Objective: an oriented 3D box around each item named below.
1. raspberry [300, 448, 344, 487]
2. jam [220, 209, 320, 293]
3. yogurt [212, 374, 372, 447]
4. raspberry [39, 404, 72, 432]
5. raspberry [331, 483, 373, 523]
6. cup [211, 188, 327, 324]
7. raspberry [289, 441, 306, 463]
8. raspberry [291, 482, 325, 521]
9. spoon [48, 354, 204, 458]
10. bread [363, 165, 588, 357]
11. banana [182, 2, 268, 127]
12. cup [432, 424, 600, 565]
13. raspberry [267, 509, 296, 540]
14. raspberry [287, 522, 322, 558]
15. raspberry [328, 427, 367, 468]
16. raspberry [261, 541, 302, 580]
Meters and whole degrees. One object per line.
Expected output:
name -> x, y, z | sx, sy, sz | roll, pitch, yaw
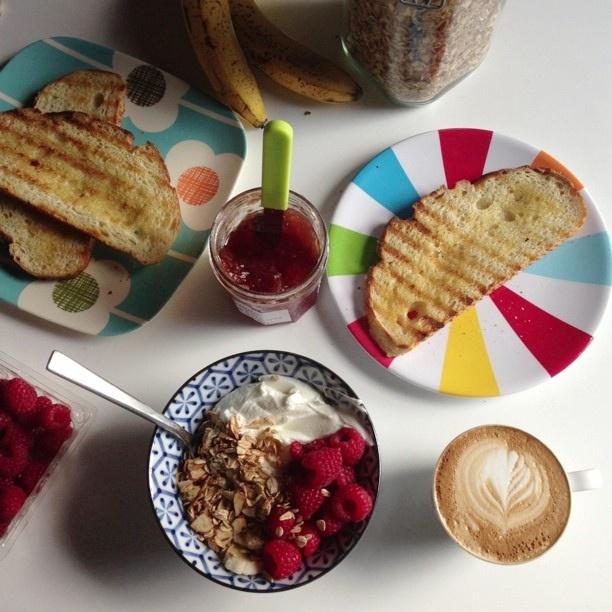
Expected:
raspberry -> 0.025, 0.278, 1.141 | 0.082, 0.056, 0.057 | -32, 88, -11
jam -> -0.064, -0.094, 1.213 | 0.186, 0.074, 0.163 | -2, 91, 0
yogurt -> -0.038, 0.193, 1.200 | 0.251, 0.059, 0.126 | 11, 70, 2
raspberry -> -0.496, 0.221, 1.255 | 0.049, 0.058, 0.054 | 24, 72, 7
raspberry -> 0.080, 0.361, 1.155 | 0.072, 0.089, 0.069 | 27, 73, 8
cup -> -0.071, -0.084, 1.246 | 0.236, 0.232, 0.215 | 1, 74, -2
raspberry -> -0.017, 0.266, 1.166 | 0.036, 0.011, 0.031 | -4, 79, -4
raspberry -> -0.001, 0.358, 1.157 | 0.068, 0.071, 0.058 | 15, 72, 4
spoon -> -0.337, 0.197, 1.234 | 0.073, 0.496, 0.158 | -12, 61, 10
bread -> 0.322, -0.101, 1.416 | 0.700, 0.118, 0.317 | -15, 55, -9
banana -> -0.163, -0.536, 1.436 | 0.248, 0.253, 0.205 | -16, 52, -11
cup -> 0.380, 0.364, 1.259 | 0.264, 0.134, 0.279 | 0, 70, -1
raspberry -> -0.048, 0.393, 1.145 | 0.045, 0.032, 0.054 | 24, 72, 7
raspberry -> 0.004, 0.414, 1.145 | 0.056, 0.037, 0.061 | -2, 86, -3
raspberry -> 0.078, 0.258, 1.165 | 0.063, 0.034, 0.070 | -14, 77, 7
raspberry -> -0.041, 0.463, 1.151 | 0.092, 0.091, 0.072 | 2, 68, 7
